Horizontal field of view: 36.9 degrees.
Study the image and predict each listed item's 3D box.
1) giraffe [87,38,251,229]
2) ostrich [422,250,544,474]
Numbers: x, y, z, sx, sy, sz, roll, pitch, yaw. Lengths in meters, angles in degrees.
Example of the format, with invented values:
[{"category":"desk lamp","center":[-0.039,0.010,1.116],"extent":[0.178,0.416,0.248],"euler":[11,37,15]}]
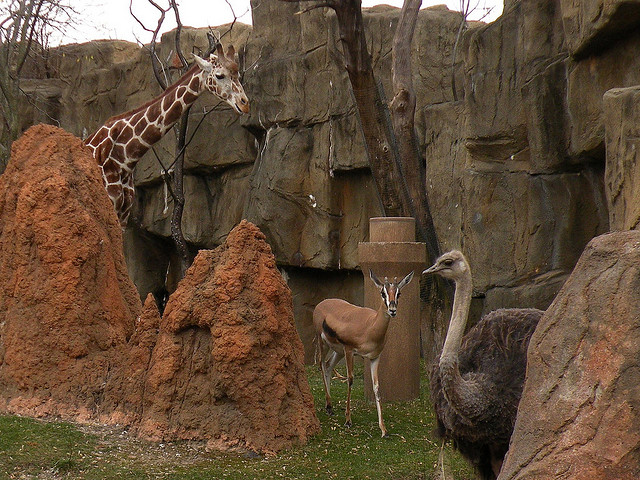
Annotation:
[{"category":"giraffe","center":[-2.732,-1.778,16.103],"extent":[2.434,3.143,0.926],"euler":[1,7,-20]},{"category":"ostrich","center":[1.590,1.386,9.895],"extent":[1.018,2.592,1.169],"euler":[5,3,32]}]
